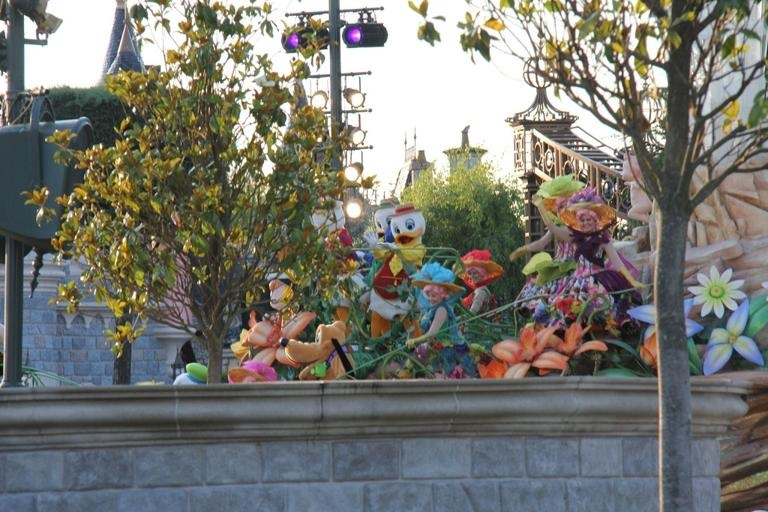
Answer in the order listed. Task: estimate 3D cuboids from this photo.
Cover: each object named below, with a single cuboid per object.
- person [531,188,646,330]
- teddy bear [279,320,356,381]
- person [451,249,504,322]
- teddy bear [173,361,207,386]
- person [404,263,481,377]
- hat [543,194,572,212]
[{"bbox_3d":[2.051,-0.020,27.335,1.034,1.367,0.672,-6,-7,38],"label":"person"},{"bbox_3d":[-0.585,0.904,26.617,0.707,0.736,0.413,8,-1,-9],"label":"teddy bear"},{"bbox_3d":[0.962,0.290,28.541,0.504,0.850,0.499,-16,-40,26],"label":"person"},{"bbox_3d":[-1.859,1.156,26.974,0.289,0.167,0.237,-9,-42,10],"label":"teddy bear"},{"bbox_3d":[0.555,0.605,26.696,0.715,1.113,0.621,0,-6,-11],"label":"person"},{"bbox_3d":[1.711,-0.573,27.822,0.192,0.071,0.199,-17,-17,36],"label":"hat"}]
